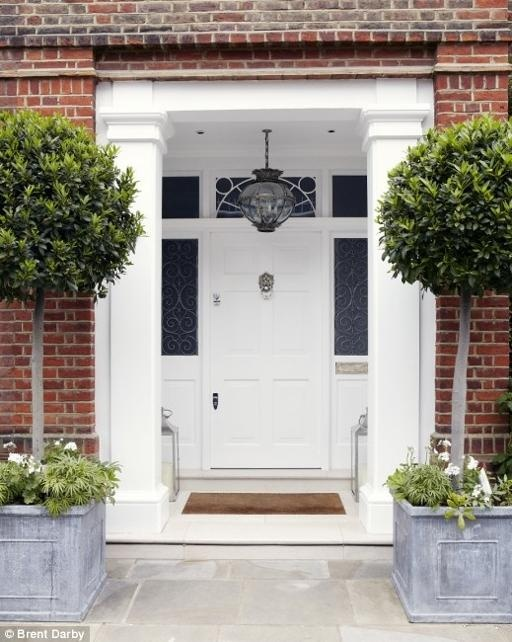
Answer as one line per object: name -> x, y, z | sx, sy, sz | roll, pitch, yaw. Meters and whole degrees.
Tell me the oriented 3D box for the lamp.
lamp -> 0.071, -0.867, 6.925 | 0.373, 0.469, 0.226 | 0, 14, -1
